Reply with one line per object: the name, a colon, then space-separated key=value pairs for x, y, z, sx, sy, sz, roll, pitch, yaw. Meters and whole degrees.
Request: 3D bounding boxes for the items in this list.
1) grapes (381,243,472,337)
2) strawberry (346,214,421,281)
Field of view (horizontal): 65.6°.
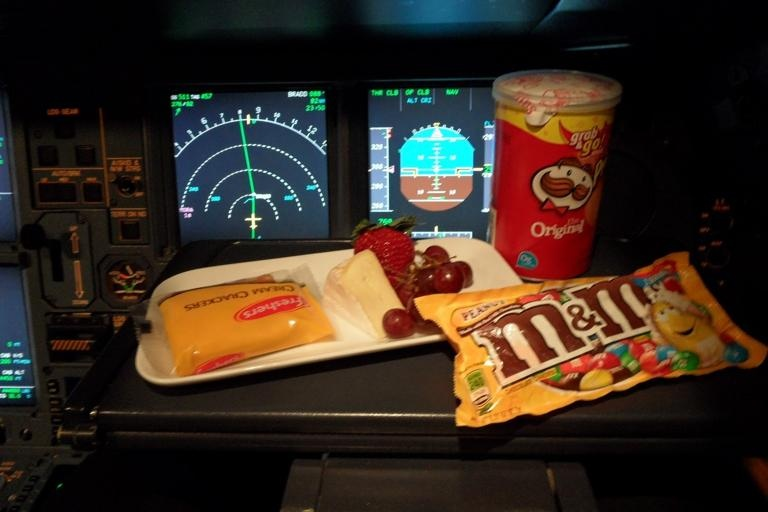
grapes: x=0.065 y=0.048 z=1.039 sx=0.140 sy=0.134 sz=0.167 roll=-3 pitch=14 yaw=-24
strawberry: x=0.013 y=-0.027 z=1.142 sx=0.141 sy=0.107 sz=0.128 roll=15 pitch=17 yaw=42
